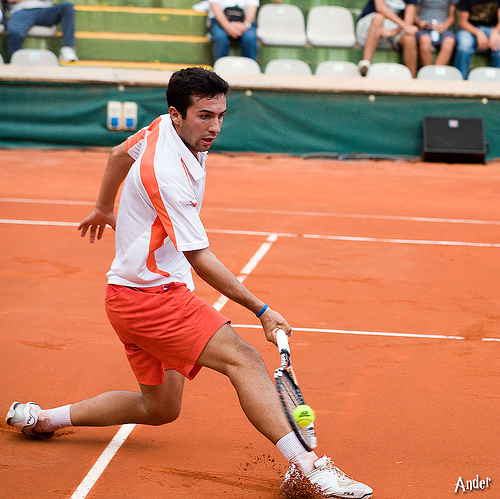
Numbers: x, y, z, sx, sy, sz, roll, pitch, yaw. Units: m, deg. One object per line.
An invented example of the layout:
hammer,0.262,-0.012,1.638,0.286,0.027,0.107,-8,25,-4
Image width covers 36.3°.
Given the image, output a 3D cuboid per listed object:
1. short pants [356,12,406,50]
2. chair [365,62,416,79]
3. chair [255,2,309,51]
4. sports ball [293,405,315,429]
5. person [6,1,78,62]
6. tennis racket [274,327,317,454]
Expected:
short pants,1.992,-3.359,11.675,0.758,0.490,0.391,21,31,39
chair,1.963,-2.524,10.710,0.604,0.233,0.431,3,9,1
chair,0.509,-3.557,12.265,1.177,0.715,1.013,1,28,-7
sports ball,0.242,0.745,3.437,0.108,0.091,0.092,3,40,7
person,-3.071,-3.289,11.376,1.045,0.930,0.757,3,10,-5
tennis racket,0.183,0.640,3.475,0.053,0.570,0.176,-32,-29,18
